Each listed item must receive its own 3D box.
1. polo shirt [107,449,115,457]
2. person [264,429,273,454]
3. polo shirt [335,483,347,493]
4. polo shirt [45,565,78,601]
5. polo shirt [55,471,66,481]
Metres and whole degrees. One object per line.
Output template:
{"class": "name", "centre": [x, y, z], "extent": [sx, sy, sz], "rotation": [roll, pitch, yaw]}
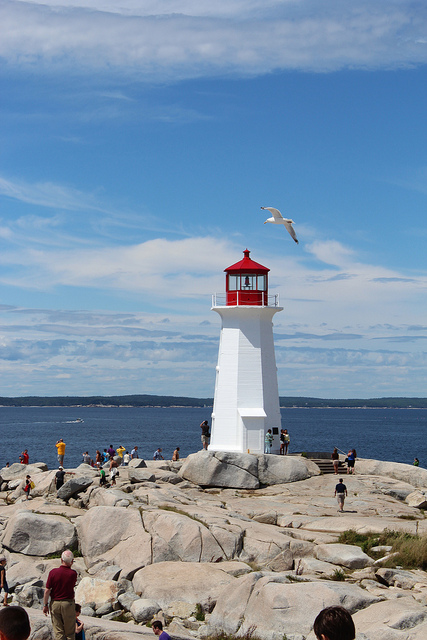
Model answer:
{"class": "polo shirt", "centre": [-5.589, 7.397, 40.837], "extent": [0.580, 0.554, 0.316], "rotation": [0, 1, -4]}
{"class": "person", "centre": [2.869, 6.279, 38.199], "extent": [0.304, 1.183, 1.130], "rotation": [1, -5, 10]}
{"class": "polo shirt", "centre": [4.901, 6.549, 28.660], "extent": [0.589, 0.468, 0.313], "rotation": [0, -3, 20]}
{"class": "polo shirt", "centre": [-2.571, 4.459, 12.539], "extent": [0.420, 0.519, 0.368], "rotation": [1, -5, 8]}
{"class": "polo shirt", "centre": [-6.132, 6.283, 29.741], "extent": [0.310, 0.417, 0.825], "rotation": [2, -5, -11]}
